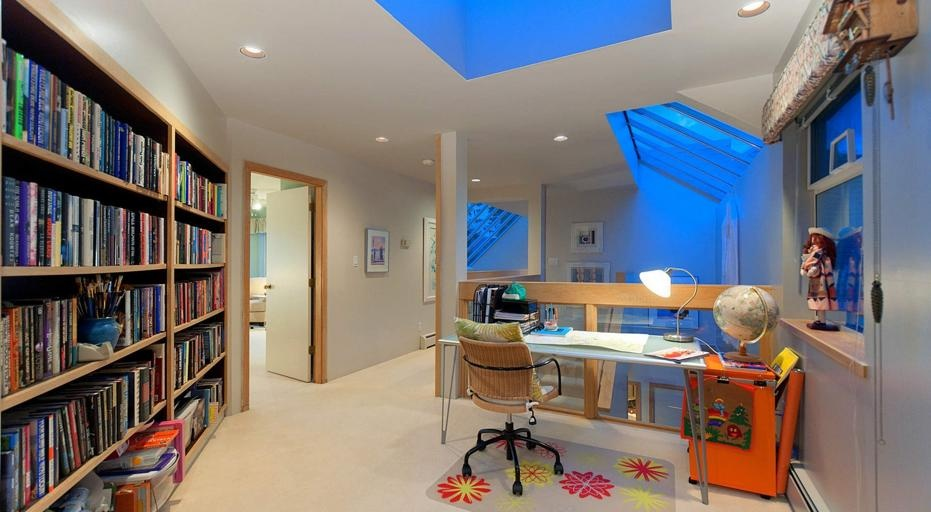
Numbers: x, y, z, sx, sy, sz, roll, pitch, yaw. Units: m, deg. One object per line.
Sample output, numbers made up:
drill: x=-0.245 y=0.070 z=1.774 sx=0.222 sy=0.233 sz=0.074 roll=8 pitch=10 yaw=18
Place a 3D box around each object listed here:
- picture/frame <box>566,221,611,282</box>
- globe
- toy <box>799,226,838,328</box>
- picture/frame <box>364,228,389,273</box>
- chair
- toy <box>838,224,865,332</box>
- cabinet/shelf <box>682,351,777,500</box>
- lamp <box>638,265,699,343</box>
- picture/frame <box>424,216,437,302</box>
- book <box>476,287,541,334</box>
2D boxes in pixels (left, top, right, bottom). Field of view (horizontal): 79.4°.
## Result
picture/frame: x=1.985 y=-0.067 z=9.132 sx=0.650 sy=0.952 sz=0.121 roll=-2 pitch=-3 yaw=4
globe: x=2.359 y=0.565 z=4.760 sx=0.507 sy=0.590 sz=0.473 roll=4 pitch=3 yaw=39
toy: x=2.778 y=0.167 z=4.415 sx=0.270 sy=0.776 sz=0.394 roll=3 pitch=-5 yaw=25
picture/frame: x=-1.153 y=-0.069 z=7.212 sx=0.055 sy=0.677 sz=0.624 roll=2 pitch=-1 yaw=29
chair: x=0.436 y=1.272 z=4.999 sx=0.875 sy=1.356 sz=0.710 roll=-4 pitch=-2 yaw=14
toy: x=2.845 y=0.165 z=4.178 sx=0.113 sy=0.695 sz=0.267 roll=2 pitch=-1 yaw=7
cabinet/shelf: x=2.395 y=1.477 z=4.821 sx=0.956 sy=0.962 sz=0.964 roll=-1 pitch=-10 yaw=30
lamp: x=1.797 y=0.341 z=4.988 sx=0.347 sy=0.868 sz=0.426 roll=-2 pitch=1 yaw=30
picture/frame: x=-0.537 y=0.056 z=8.372 sx=0.078 sy=1.253 sz=0.350 roll=-3 pitch=-3 yaw=19
book: x=0.388 y=0.516 z=5.600 sx=0.709 sy=0.469 sz=0.561 roll=-2 pitch=-3 yaw=9
